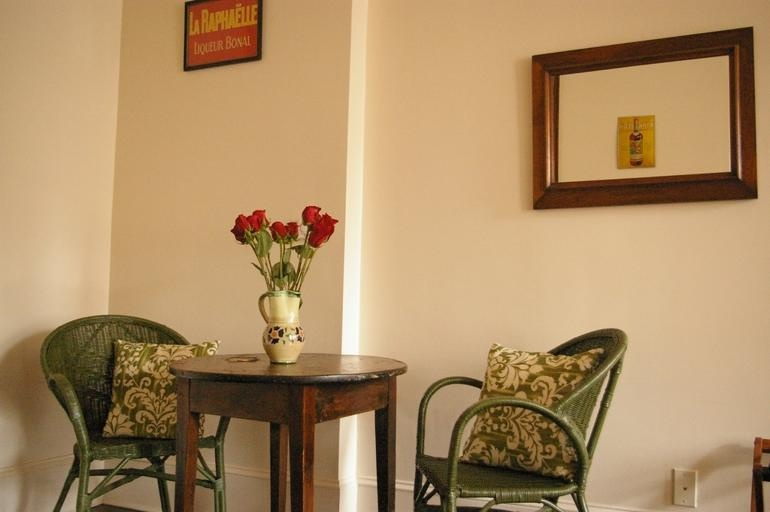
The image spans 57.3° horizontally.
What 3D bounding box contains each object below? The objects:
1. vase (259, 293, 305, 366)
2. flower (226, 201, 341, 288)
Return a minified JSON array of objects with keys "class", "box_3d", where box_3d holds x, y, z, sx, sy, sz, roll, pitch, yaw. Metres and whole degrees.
[{"class":"vase","box_3d":[-0.517,0.345,3.360,0.306,0.357,0.214,-6,-10,26]},{"class":"flower","box_3d":[-0.483,0.002,3.423,0.378,0.395,0.371,0,3,-23]}]
